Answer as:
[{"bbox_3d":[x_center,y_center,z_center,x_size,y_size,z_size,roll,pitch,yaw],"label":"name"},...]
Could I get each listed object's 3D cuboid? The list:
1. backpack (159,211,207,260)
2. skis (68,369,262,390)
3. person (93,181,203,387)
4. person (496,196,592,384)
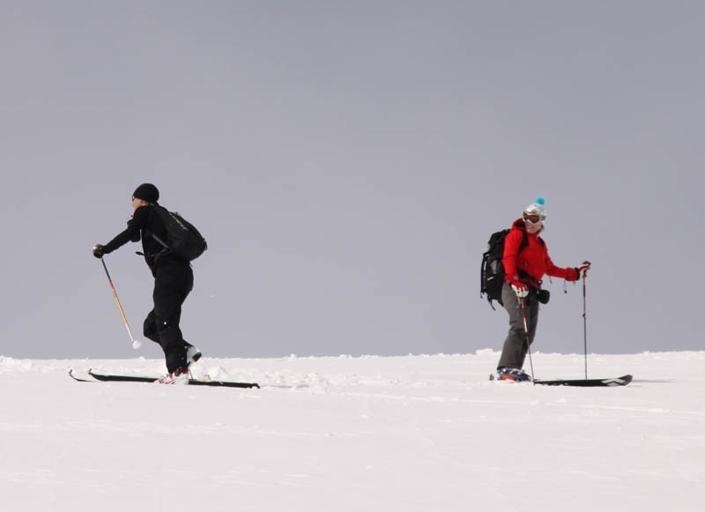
[{"bbox_3d":[-1.734,-0.180,9.749,0.284,0.493,0.375,-34,5,8],"label":"backpack"},{"bbox_3d":[-1.963,1.296,10.216,1.481,0.104,0.192,4,-11,2],"label":"skis"},{"bbox_3d":[-1.939,0.267,10.061,0.814,2.059,0.854,-1,-7,38],"label":"person"},{"bbox_3d":[1.960,0.389,11.175,0.538,2.080,1.162,-1,-7,33],"label":"person"}]
